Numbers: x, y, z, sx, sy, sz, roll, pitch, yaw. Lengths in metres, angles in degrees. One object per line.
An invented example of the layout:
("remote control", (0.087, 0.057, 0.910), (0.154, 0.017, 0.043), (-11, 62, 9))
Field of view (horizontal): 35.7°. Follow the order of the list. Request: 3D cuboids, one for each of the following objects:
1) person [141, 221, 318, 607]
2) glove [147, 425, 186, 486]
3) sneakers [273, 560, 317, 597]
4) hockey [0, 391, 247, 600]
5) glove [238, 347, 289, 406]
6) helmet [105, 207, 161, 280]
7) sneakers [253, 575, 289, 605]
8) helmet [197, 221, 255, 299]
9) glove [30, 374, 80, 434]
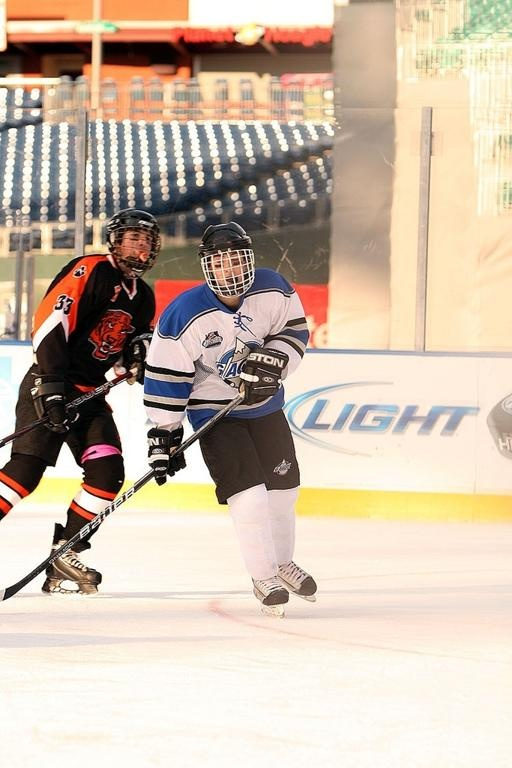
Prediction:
("person", (-0.068, 0.088, 2.320), (0.511, 1.091, 0.324), (2, 0, 3))
("glove", (-0.251, 0.209, 2.305), (0.147, 0.150, 0.071), (-8, 3, -26))
("sneakers", (0.120, 0.581, 2.399), (0.062, 0.063, 0.168), (-9, 22, -41))
("hockey", (-0.451, 0.414, 2.758), (1.007, 0.040, 0.149), (-35, 55, -17))
("glove", (0.015, -0.025, 2.255), (0.132, 0.157, 0.068), (13, 3, -12))
("helmet", (-0.388, -0.453, 2.521), (0.190, 0.201, 0.226), (-1, 14, -19))
("sneakers", (0.034, 0.579, 2.217), (0.054, 0.048, 0.126), (-9, -4, -21))
("helmet", (-0.078, -0.342, 2.194), (0.197, 0.204, 0.209), (-8, 11, -2))
("glove", (-0.606, 0.069, 2.425), (0.084, 0.172, 0.135), (-35, -26, 1))
